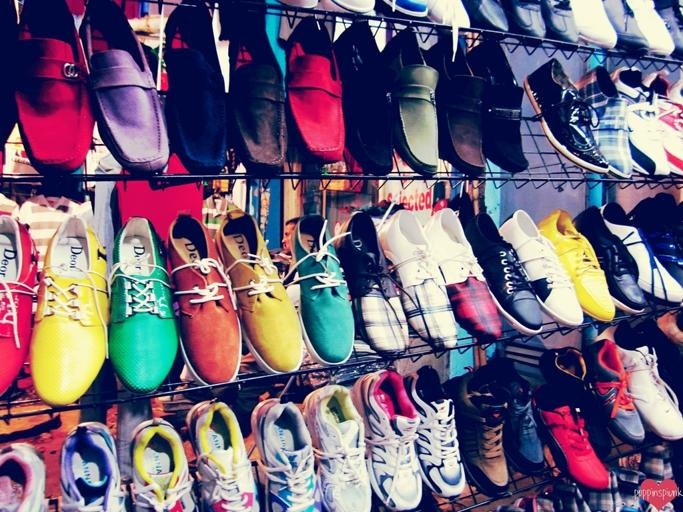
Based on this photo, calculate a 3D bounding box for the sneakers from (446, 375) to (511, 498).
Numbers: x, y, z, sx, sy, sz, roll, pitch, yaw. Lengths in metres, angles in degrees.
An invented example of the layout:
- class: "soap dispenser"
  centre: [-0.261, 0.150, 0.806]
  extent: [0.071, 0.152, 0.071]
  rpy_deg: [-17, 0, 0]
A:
- class: "sneakers"
  centre: [0.446, 0.583, 2.311]
  extent: [0.129, 0.451, 0.178]
  rpy_deg: [-8, -9, -34]

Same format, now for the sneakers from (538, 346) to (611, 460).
- class: "sneakers"
  centre: [0.834, 0.432, 2.419]
  extent: [0.120, 0.147, 0.372]
  rpy_deg: [-31, 21, -1]

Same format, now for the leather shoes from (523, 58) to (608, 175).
- class: "leather shoes"
  centre: [0.705, -0.433, 2.315]
  extent: [0.172, 0.437, 0.149]
  rpy_deg: [-27, -7, -41]

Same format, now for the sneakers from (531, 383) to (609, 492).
- class: "sneakers"
  centre: [0.748, 0.597, 2.383]
  extent: [0.130, 0.394, 0.151]
  rpy_deg: [-12, -25, -38]

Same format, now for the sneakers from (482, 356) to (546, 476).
- class: "sneakers"
  centre: [0.570, 0.540, 2.391]
  extent: [0.120, 0.442, 0.183]
  rpy_deg: [-11, -12, -21]

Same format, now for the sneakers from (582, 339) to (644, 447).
- class: "sneakers"
  centre: [0.924, 0.459, 2.397]
  extent: [0.128, 0.352, 0.133]
  rpy_deg: [-6, -38, -15]

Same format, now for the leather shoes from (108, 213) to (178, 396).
- class: "leather shoes"
  centre: [-0.570, 0.143, 2.004]
  extent: [0.155, 0.539, 0.175]
  rpy_deg: [0, -23, -29]

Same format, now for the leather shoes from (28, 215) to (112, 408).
- class: "leather shoes"
  centre: [-0.738, 0.123, 1.938]
  extent: [0.190, 0.604, 0.192]
  rpy_deg: [1, -45, -17]
